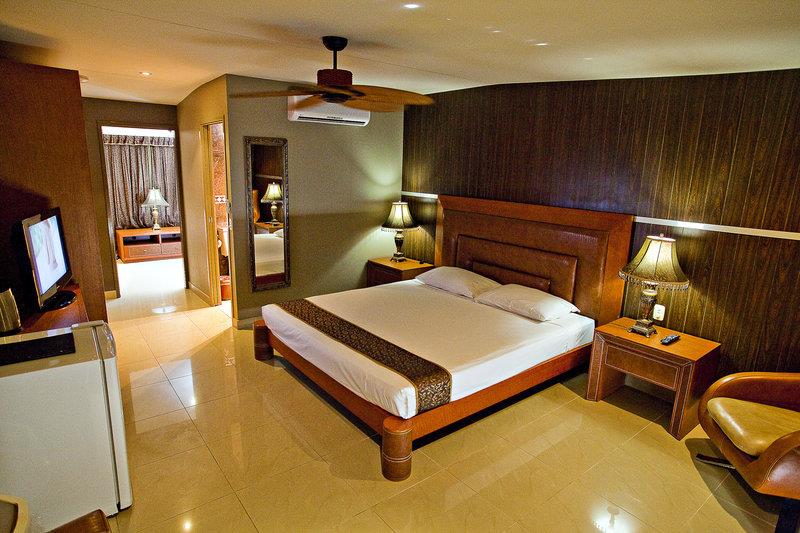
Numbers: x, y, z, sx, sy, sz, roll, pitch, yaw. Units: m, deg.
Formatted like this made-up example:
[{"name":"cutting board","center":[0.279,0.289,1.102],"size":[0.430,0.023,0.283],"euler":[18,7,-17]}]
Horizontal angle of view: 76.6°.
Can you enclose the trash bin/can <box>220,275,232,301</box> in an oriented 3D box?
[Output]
[{"name":"trash bin/can","center":[-2.369,0.297,6.833],"size":[0.117,0.312,0.143],"euler":[-4,15,-10]}]

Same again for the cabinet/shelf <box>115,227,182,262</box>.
[{"name":"cabinet/shelf","center":[-4.410,-0.392,8.874],"size":[1.022,0.539,0.600],"euler":[-7,16,-26]}]

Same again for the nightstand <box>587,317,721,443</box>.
[{"name":"nightstand","center":[2.296,0.984,4.664],"size":[0.901,0.733,0.685],"euler":[16,22,42]}]

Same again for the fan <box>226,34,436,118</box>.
[{"name":"fan","center":[-0.449,-1.432,4.148],"size":[1.101,0.389,1.154],"euler":[3,10,18]}]

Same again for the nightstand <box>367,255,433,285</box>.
[{"name":"nightstand","center":[-0.058,0.035,6.556],"size":[0.451,0.563,0.617],"euler":[-7,15,-30]}]

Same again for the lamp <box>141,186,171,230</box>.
[{"name":"lamp","center":[-4.401,-1.063,9.106],"size":[0.432,0.698,0.629],"euler":[-9,17,-28]}]

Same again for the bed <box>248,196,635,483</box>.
[{"name":"bed","center":[0.393,0.363,4.832],"size":[2.420,1.440,2.747],"euler":[15,17,37]}]

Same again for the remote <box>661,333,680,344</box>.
[{"name":"remote","center":[2.375,0.634,4.456],"size":[0.207,0.028,0.079],"euler":[-19,29,-30]}]

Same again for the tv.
[{"name":"tv","center":[-2.939,-0.058,4.180],"size":[0.302,0.756,0.762],"euler":[-3,18,-12]}]
